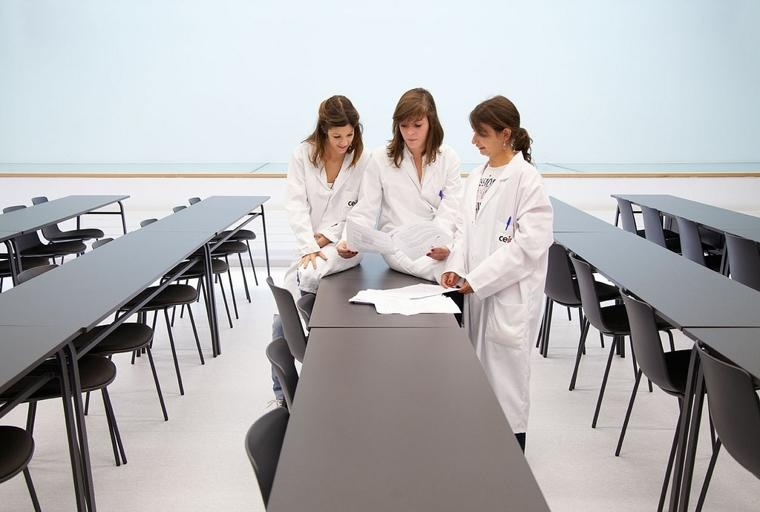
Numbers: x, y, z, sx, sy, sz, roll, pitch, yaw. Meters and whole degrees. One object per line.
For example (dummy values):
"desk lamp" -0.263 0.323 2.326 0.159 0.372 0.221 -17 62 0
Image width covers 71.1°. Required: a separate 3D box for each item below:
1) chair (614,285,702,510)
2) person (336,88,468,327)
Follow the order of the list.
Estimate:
"chair" 1.564 0.763 3.084 0.373 1.145 0.789 5 12 29
"person" 0.209 -0.457 3.364 0.948 1.425 1.383 5 25 3
